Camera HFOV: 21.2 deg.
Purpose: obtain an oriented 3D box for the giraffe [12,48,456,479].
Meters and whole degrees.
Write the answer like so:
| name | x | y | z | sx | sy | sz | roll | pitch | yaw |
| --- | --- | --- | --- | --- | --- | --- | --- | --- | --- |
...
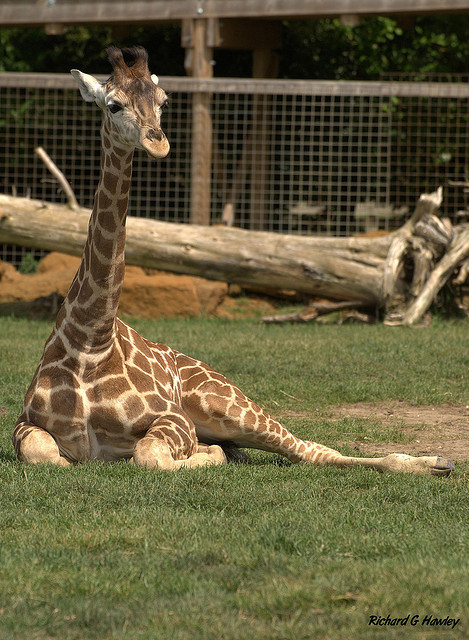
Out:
| name | x | y | z | sx | sy | sz | roll | pitch | yaw |
| --- | --- | --- | --- | --- | --- | --- | --- | --- | --- |
| giraffe | -0.169 | -0.300 | 7.877 | 2.353 | 2.627 | 2.035 | -1 | 1 | -13 |
